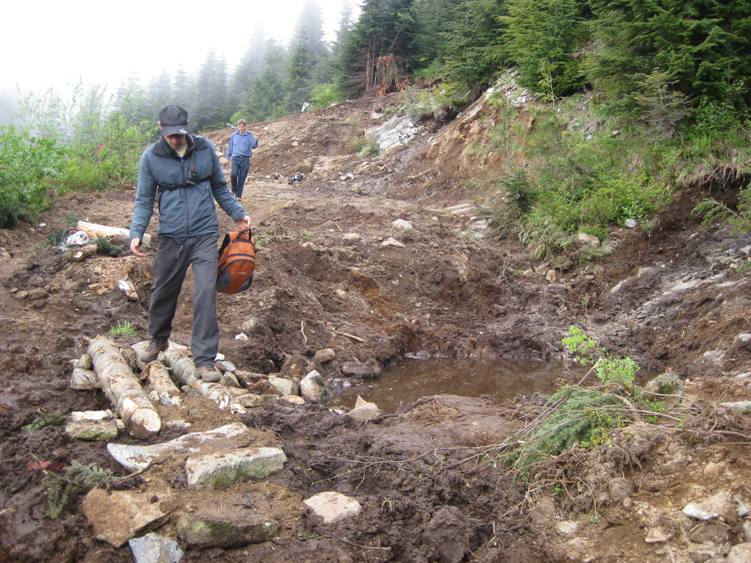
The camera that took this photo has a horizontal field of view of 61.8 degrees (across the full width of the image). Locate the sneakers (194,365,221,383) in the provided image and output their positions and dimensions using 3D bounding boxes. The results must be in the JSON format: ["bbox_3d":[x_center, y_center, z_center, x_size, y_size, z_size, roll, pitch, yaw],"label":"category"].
[{"bbox_3d":[-1.947,1.061,7.238,0.294,0.119,0.159,0,1,26],"label":"sneakers"}]

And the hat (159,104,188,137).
[{"bbox_3d":[-2.248,-1.782,6.950,0.301,0.323,0.265,-2,19,-16],"label":"hat"}]

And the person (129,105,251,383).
[{"bbox_3d":[-2.212,-0.451,7.227,1.134,3.025,1.028,5,18,3],"label":"person"}]
